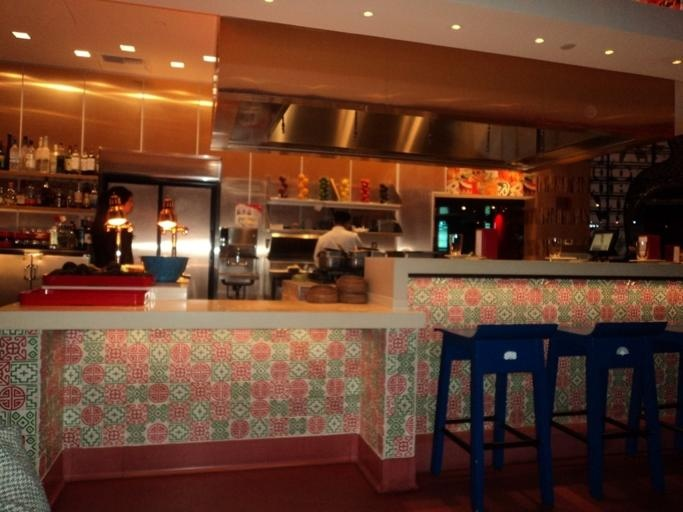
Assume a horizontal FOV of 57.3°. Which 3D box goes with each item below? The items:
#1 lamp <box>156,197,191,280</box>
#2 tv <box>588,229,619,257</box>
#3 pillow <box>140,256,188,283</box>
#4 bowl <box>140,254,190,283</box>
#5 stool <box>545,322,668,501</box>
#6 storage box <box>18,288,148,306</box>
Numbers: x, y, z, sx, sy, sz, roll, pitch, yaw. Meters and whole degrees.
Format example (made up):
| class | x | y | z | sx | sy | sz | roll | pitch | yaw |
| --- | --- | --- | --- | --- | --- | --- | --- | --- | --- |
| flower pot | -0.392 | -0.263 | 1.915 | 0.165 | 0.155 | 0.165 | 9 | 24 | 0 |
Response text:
| class | x | y | z | sx | sy | sz | roll | pitch | yaw |
| --- | --- | --- | --- | --- | --- | --- | --- | --- | --- |
| lamp | -1.312 | -0.146 | 4.844 | 0.240 | 0.558 | 0.230 | 0 | -7 | -3 |
| tv | 2.403 | -0.116 | 5.750 | 0.121 | 0.334 | 0.337 | 7 | -5 | -22 |
| pillow | -1.345 | 0.077 | 4.772 | 0.238 | 0.142 | 0.237 | -1 | 3 | -13 |
| bowl | -1.321 | 0.100 | 4.688 | 0.241 | 0.142 | 0.240 | 0 | 3 | 0 |
| stool | 1.908 | 1.074 | 4.544 | 0.808 | 1.233 | 0.476 | 1 | 4 | 17 |
| storage box | -1.686 | 0.271 | 4.095 | 0.763 | 0.110 | 0.064 | 0 | 4 | -7 |
